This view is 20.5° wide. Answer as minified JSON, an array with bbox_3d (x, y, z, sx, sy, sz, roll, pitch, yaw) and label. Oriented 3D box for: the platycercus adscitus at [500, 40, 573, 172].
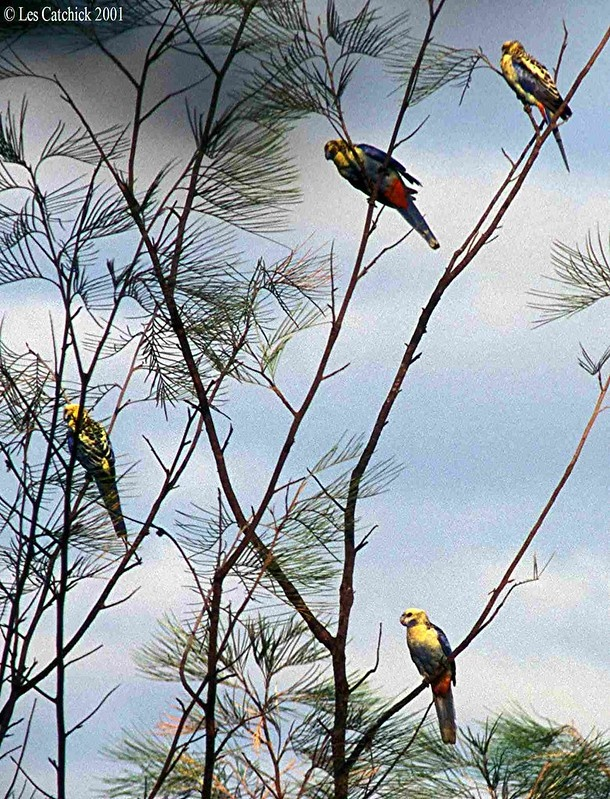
[{"bbox_3d":[0.326,-0.404,2.372,0.094,0.201,0.054,1,-16,8],"label":"platycercus adscitus"}]
